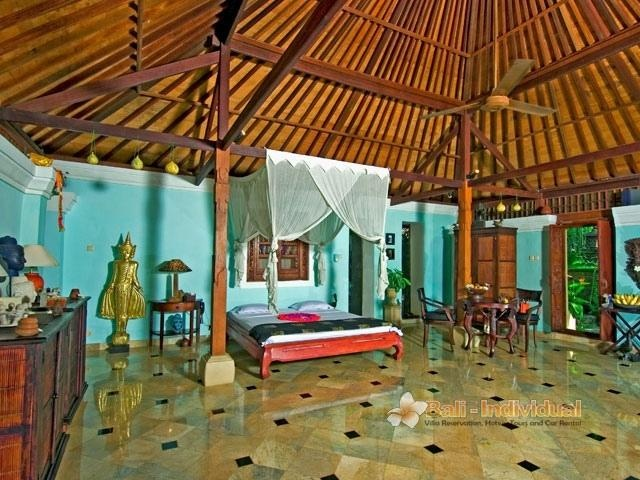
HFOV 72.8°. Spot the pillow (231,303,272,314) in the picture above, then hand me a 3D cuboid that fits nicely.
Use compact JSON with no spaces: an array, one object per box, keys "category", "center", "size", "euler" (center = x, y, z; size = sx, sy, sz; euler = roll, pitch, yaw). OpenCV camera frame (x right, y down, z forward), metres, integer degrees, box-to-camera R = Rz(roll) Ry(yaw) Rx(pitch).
[{"category":"pillow","center":[-1.218,1.228,7.752],"size":[0.631,0.120,0.509],"euler":[0,-1,-21]}]

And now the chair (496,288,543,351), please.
[{"category":"chair","center":[3.581,1.359,7.754],"size":[0.729,0.855,0.699],"euler":[-1,-1,-23]}]

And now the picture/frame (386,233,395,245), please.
[{"category":"picture/frame","center":[1.558,-0.033,9.789],"size":[0.310,0.241,0.028],"euler":[2,-6,-32]}]

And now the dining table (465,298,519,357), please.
[{"category":"dining table","center":[2.960,1.528,7.624],"size":[1.122,0.947,1.041],"euler":[3,-5,-15]}]

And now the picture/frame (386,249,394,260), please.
[{"category":"picture/frame","center":[1.551,0.309,9.724],"size":[0.104,0.265,0.327],"euler":[4,6,31]}]

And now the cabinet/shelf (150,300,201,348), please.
[{"category":"cabinet/shelf","center":[-2.461,1.407,7.382],"size":[0.888,0.660,0.529],"euler":[2,-14,-28]}]

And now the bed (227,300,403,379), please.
[{"category":"bed","center":[-0.092,1.529,7.262],"size":[2.536,0.693,1.924],"euler":[-2,6,-26]}]

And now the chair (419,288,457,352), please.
[{"category":"chair","center":[2.087,1.373,7.788],"size":[0.796,0.826,0.707],"euler":[2,2,-3]}]

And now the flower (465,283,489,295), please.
[{"category":"flower","center":[2.656,0.839,7.484],"size":[0.320,0.127,0.309],"euler":[-2,-2,31]}]

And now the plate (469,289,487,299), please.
[{"category":"plate","center":[2.700,0.929,7.444],"size":[0.246,0.088,0.218],"euler":[1,-2,-10]}]
